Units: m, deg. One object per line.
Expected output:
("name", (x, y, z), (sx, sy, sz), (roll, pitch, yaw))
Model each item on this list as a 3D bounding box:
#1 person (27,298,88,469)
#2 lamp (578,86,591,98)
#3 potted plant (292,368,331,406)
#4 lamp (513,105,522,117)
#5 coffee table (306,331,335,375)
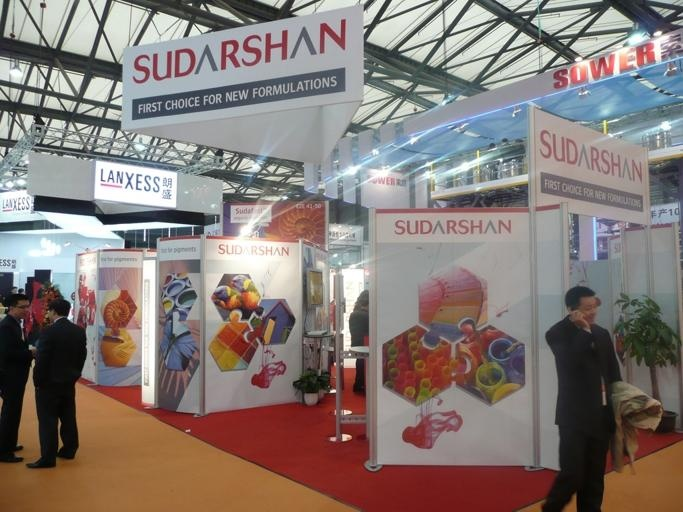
("person", (-3.004, 1.324, 5.777), (0.600, 1.699, 0.343), (-4, 5, -42))
("lamp", (3.271, -2.213, 7.445), (0.134, 0.073, 0.147), (-5, -19, 3))
("potted plant", (-0.423, 1.823, 7.644), (0.446, 0.437, 0.471), (2, -12, 5))
("lamp", (2.595, -2.172, 8.187), (0.072, 0.060, 0.189), (11, 1, -2))
("coffee table", (-0.309, 1.517, 8.166), (0.487, 0.580, 0.517), (8, -4, -25))
